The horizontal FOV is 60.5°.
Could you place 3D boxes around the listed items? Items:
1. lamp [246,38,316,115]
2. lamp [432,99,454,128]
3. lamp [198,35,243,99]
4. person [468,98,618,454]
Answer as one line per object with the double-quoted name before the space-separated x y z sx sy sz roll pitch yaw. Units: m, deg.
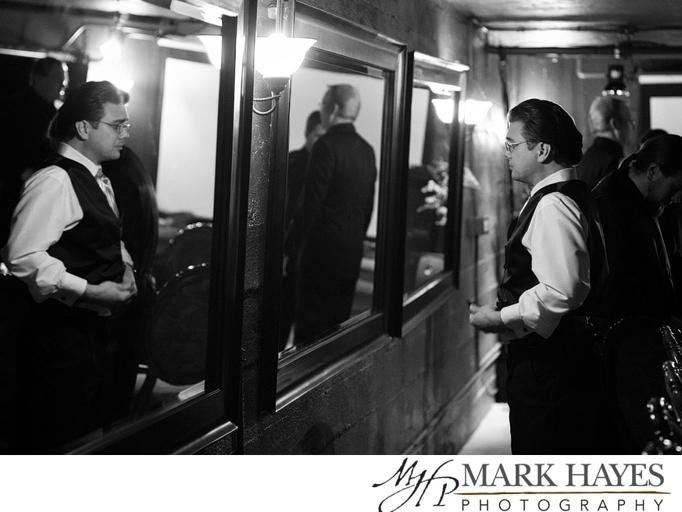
"lamp" -0.195 -0.565 1.839 0.124 0.241 0.181 -4 10 -43
"lamp" 0.446 -0.632 2.574 0.111 0.100 0.026 -2 8 -26
"lamp" -0.380 -0.572 1.813 0.159 0.165 0.140 1 -2 -28
"person" 0.803 0.114 2.289 0.563 1.421 0.185 7 8 28
